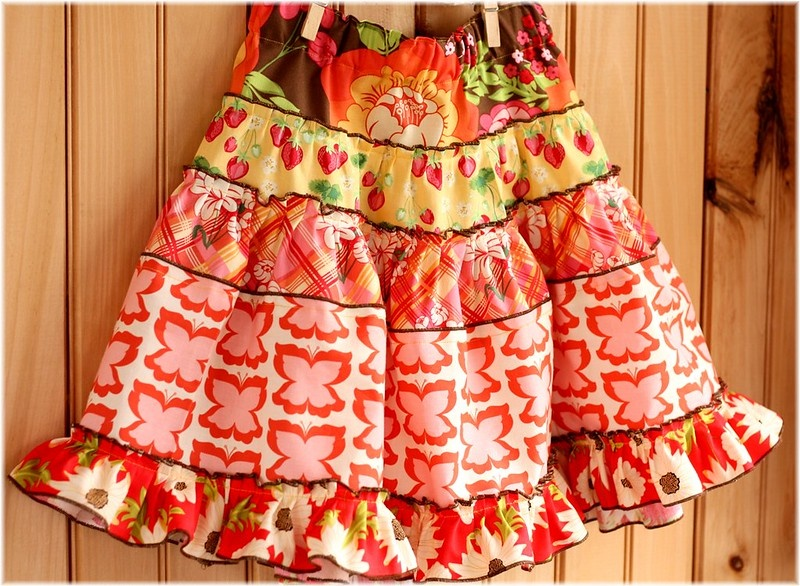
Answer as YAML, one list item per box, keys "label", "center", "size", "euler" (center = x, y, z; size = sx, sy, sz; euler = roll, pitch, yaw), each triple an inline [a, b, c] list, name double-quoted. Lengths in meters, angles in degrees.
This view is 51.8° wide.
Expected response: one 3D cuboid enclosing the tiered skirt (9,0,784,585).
- label: "tiered skirt"
  center: [-0.047, -0.012, 1.166]
  size: [0.782, 0.702, 0.233]
  euler: [0, 2, -13]
